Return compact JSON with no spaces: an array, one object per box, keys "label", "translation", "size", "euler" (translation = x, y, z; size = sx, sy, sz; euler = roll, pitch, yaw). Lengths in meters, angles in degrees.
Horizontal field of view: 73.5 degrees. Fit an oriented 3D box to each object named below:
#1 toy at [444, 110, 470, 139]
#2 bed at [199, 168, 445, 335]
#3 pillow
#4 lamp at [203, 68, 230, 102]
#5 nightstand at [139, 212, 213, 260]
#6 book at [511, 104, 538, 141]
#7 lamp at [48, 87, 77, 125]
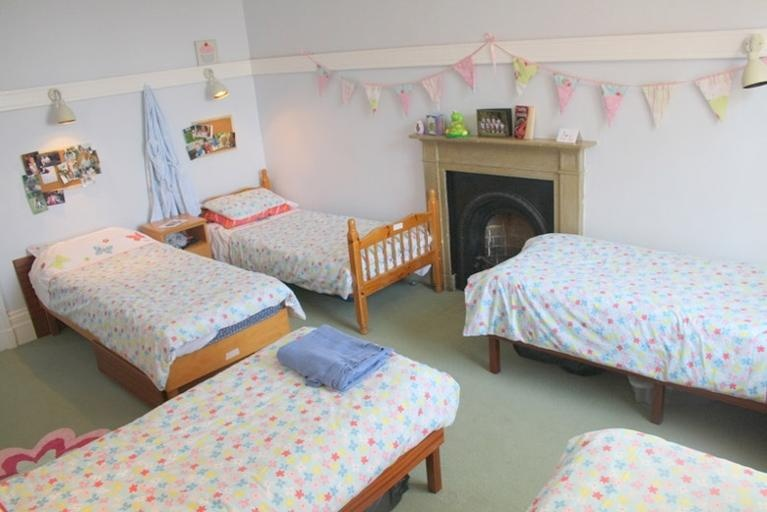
[{"label":"toy","translation":[0.740,-1.323,5.180],"size":[0.237,0.252,0.260],"euler":[3,11,30]},{"label":"bed","translation":[-0.521,-0.164,5.736],"size":[1.952,1.055,1.194],"euler":[13,26,33]},{"label":"pillow","translation":[-1.673,-0.625,6.516],"size":[0.824,0.247,0.545],"euler":[-17,28,-40]},{"label":"lamp","translation":[-2.073,-2.122,6.309],"size":[0.376,0.394,0.341],"euler":[22,29,22]},{"label":"nightstand","translation":[-2.478,-0.307,6.201],"size":[0.537,0.692,0.703],"euler":[17,28,30]},{"label":"book","translation":[1.340,-1.274,4.874],"size":[0.318,0.432,0.058],"euler":[14,23,40]},{"label":"lamp","translation":[-3.392,-1.581,5.415],"size":[0.248,0.375,0.382],"euler":[-16,23,-33]}]
